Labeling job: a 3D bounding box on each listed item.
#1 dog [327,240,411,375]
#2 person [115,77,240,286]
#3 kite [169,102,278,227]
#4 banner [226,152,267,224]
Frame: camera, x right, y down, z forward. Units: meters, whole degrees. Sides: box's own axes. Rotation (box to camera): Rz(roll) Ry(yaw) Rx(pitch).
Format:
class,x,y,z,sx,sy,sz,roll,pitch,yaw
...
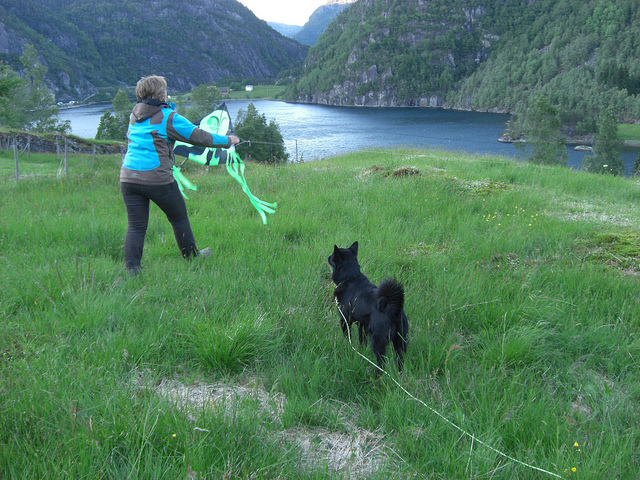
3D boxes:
class,x,y,z,sx,sy,sz,roll,pitch,yaw
dog,0.486,0.737,5.955,0.397,1.094,1.608,-9,17,-22
person,-2.110,-0.934,7.446,1.133,2.463,0.592,-4,11,-26
kite,-1.900,-1.432,9.681,1.911,2.186,0.167,3,11,29
banner,-1.288,-0.956,9.572,0.637,1.041,2.204,-1,13,-12
